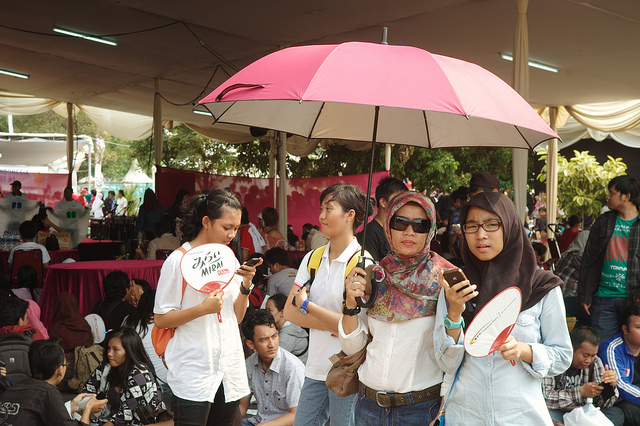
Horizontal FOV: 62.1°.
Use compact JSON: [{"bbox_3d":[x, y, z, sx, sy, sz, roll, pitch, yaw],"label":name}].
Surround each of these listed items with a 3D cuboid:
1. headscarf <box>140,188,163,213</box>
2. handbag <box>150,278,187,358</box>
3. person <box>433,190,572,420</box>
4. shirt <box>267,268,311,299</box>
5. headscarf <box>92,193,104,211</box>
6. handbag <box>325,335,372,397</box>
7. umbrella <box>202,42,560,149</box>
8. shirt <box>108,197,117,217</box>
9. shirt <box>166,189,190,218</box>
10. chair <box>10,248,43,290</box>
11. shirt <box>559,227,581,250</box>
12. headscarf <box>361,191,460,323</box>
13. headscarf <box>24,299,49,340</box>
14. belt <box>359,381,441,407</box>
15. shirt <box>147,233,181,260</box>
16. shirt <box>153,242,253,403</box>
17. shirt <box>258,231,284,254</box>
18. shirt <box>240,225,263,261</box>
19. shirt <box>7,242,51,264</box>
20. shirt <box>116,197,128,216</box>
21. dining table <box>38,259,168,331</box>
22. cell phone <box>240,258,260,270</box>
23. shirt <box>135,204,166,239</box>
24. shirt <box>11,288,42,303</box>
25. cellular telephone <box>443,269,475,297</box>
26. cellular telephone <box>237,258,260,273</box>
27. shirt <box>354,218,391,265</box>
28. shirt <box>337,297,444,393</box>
[{"bbox_3d":[-3.606,-0.260,11.282,0.361,0.499,0.591,1,1,5],"label":"headscarf"},{"bbox_3d":[-1.234,0.893,4.418,0.335,0.654,0.264,-4,-18,5],"label":"handbag"},{"bbox_3d":[1.251,0.657,3.737,0.927,1.629,0.417,1,1,-14],"label":"person"},{"bbox_3d":[-0.375,0.826,7.482,0.524,0.607,0.315,8,21,-11],"label":"shirt"},{"bbox_3d":[-9.047,-0.462,21.668,0.381,0.719,0.713,1,1,-24],"label":"headscarf"},{"bbox_3d":[0.198,1.154,4.086,0.252,0.459,0.358,24,-11,-10],"label":"handbag"},{"bbox_3d":[0.503,-0.970,4.486,2.579,0.782,1.879,2,1,31],"label":"umbrella"},{"bbox_3d":[-7.410,-0.183,18.986,0.246,0.646,0.446,10,-7,-14],"label":"shirt"},{"bbox_3d":[-2.597,-0.179,9.613,0.367,0.611,0.294,7,-40,4],"label":"shirt"},{"bbox_3d":[-5.011,1.003,9.118,0.477,0.723,1.518,1,1,-30],"label":"chair"},{"bbox_3d":[4.375,0.453,9.327,0.227,0.427,0.300,7,11,-27],"label":"shirt"},{"bbox_3d":[0.711,0.326,3.999,0.798,0.946,0.515,2,-4,32],"label":"headscarf"},{"bbox_3d":[-3.716,1.352,7.002,0.258,0.459,1.368,1,1,-29],"label":"headscarf"},{"bbox_3d":[0.591,1.306,3.821,0.541,0.169,0.086,2,1,6],"label":"belt"},{"bbox_3d":[-2.603,0.550,8.889,0.532,0.480,0.277,0,14,-20],"label":"shirt"},{"bbox_3d":[-0.940,1.272,4.386,0.697,1.929,0.564,0,-2,-27],"label":"shirt"},{"bbox_3d":[-0.842,0.493,9.275,0.415,0.569,0.303,0,-5,-8],"label":"shirt"},{"bbox_3d":[-1.086,0.475,8.264,0.281,0.551,0.547,-6,-5,10],"label":"shirt"},{"bbox_3d":[-5.270,0.657,9.659,0.565,0.571,0.408,0,-11,-12],"label":"shirt"},{"bbox_3d":[-7.032,-0.226,18.882,0.596,0.683,0.365,-10,-17,43],"label":"shirt"},{"bbox_3d":[-2.936,1.127,7.144,1.187,0.643,1.239,-1,-4,8],"label":"dining table"},{"bbox_3d":[-0.522,0.385,4.160,0.122,0.062,0.053,2,1,15],"label":"cell phone"},{"bbox_3d":[-3.461,0.176,10.911,0.681,0.925,0.371,1,6,-25],"label":"shirt"},{"bbox_3d":[-4.315,1.213,7.821,0.336,0.124,0.239,27,24,-16],"label":"shirt"},{"bbox_3d":[0.921,0.462,3.534,0.204,0.176,0.048,1,1,-1],"label":"cellular telephone"},{"bbox_3d":[-0.546,0.415,4.200,0.110,0.126,0.217,0,1,-42],"label":"cellular telephone"},{"bbox_3d":[0.549,0.268,5.257,0.312,0.457,0.559,0,1,19],"label":"shirt"},{"bbox_3d":[0.591,0.891,3.970,0.841,0.805,0.478,2,-1,17],"label":"shirt"}]
